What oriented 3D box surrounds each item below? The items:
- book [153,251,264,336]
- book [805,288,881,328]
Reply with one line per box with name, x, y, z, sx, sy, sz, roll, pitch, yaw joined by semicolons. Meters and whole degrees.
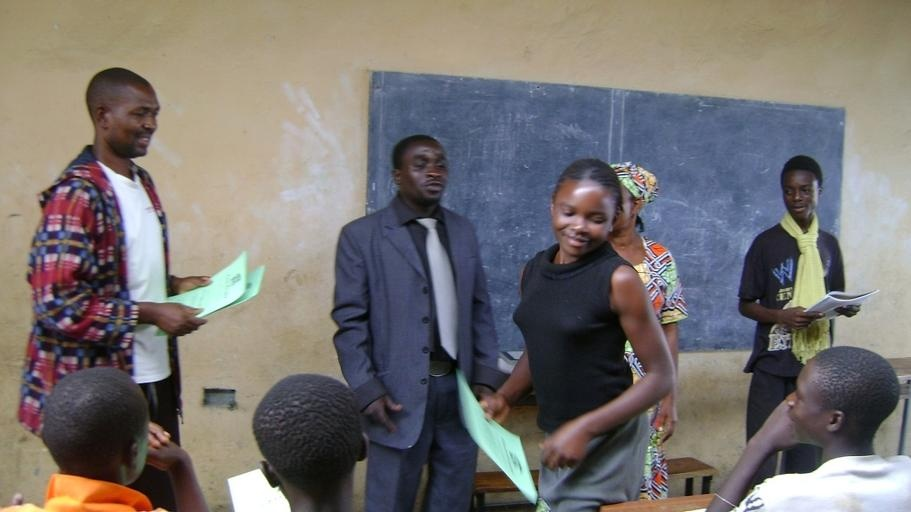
book;-1.250;0.175;4.387;0.627;0.135;0.408;-22;23;-5
book;2.391;0.290;5.198;0.284;0.114;0.307;3;-25;7
